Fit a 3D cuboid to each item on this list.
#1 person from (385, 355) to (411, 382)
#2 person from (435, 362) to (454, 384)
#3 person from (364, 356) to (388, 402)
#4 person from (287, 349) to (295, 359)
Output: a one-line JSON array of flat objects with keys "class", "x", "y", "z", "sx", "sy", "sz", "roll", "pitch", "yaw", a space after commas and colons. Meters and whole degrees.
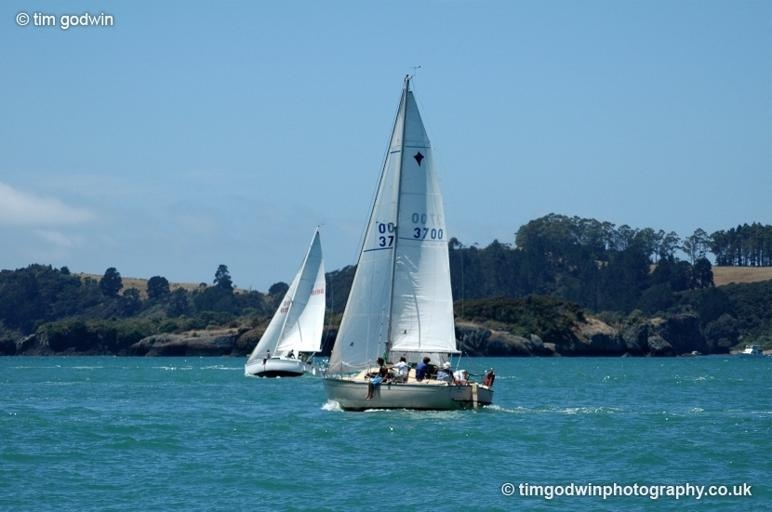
[{"class": "person", "x": 0.854, "y": 7.645, "z": 80.746, "sx": 1.551, "sy": 1.119, "sz": 1.278, "roll": -1, "pitch": 0, "yaw": 4}, {"class": "person", "x": 4.158, "y": 8.019, "z": 80.979, "sx": 1.213, "sy": 0.881, "sz": 1.386, "roll": -1, "pitch": 0, "yaw": 6}, {"class": "person", "x": -0.382, "y": 8.388, "z": 80.906, "sx": 1.460, "sy": 2.706, "sz": 1.207, "roll": 5, "pitch": -19, "yaw": 28}, {"class": "person", "x": -8.771, "y": 8.960, "z": 109.549, "sx": 0.606, "sy": 0.782, "sz": 0.296, "roll": 7, "pitch": 8, "yaw": -5}]
